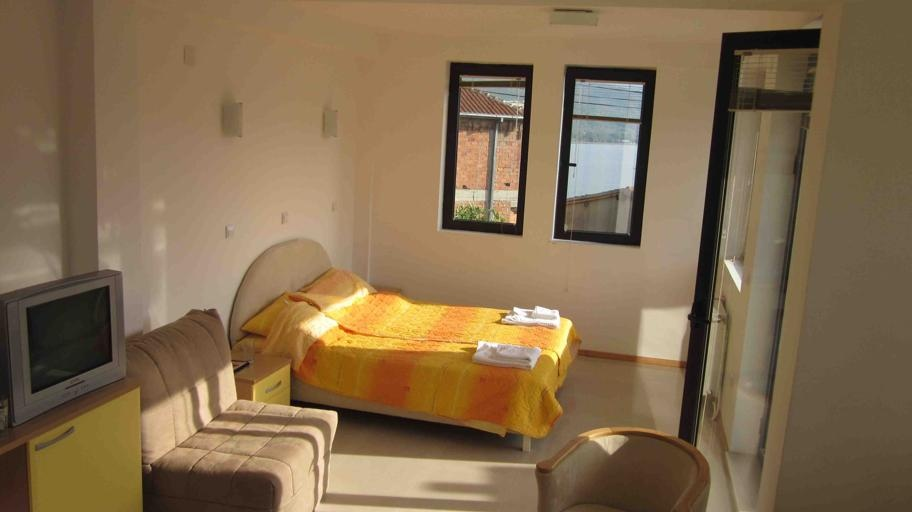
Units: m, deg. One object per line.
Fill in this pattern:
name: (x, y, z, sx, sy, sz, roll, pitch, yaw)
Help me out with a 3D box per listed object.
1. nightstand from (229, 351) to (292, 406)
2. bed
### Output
nightstand: (-1.803, 1.085, 5.707, 0.507, 0.476, 0.494, 3, 12, 15)
bed: (-0.395, 0.767, 6.643, 3.196, 1.338, 2.068, 6, 16, 14)
